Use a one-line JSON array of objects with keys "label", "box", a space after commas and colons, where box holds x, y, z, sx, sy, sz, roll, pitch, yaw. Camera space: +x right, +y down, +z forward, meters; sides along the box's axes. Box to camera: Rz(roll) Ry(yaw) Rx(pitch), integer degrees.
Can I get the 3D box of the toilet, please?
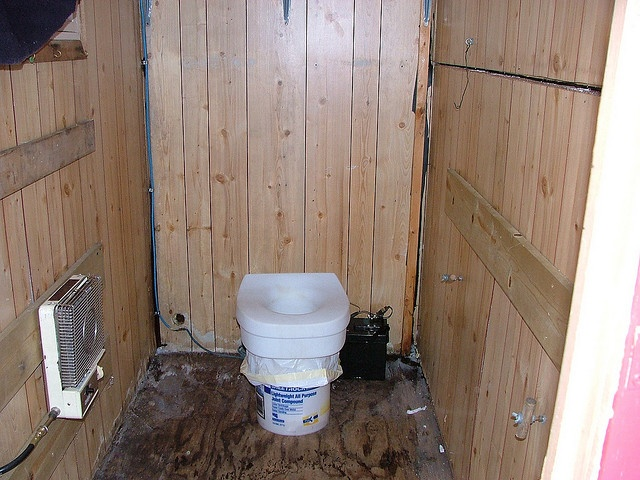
[{"label": "toilet", "box": [-0.103, 0.527, 2.284, 0.518, 0.786, 0.569, -1, 15, -2]}]
